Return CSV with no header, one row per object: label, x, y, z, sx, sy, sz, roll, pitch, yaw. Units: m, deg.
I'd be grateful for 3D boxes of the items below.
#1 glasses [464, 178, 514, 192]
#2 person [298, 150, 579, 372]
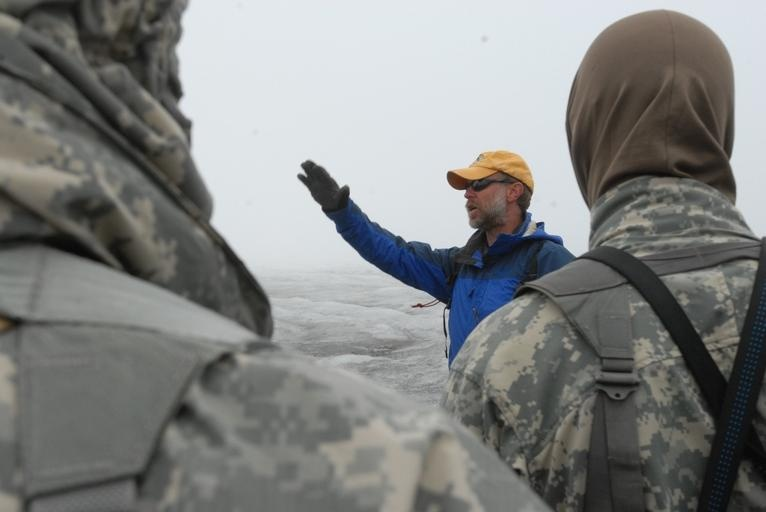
glasses,0.652,-0.437,4.091,0.156,0.042,0.121,-7,-13,0
person,0.272,0.110,3.233,1.054,1.043,0.387,-15,-27,28
